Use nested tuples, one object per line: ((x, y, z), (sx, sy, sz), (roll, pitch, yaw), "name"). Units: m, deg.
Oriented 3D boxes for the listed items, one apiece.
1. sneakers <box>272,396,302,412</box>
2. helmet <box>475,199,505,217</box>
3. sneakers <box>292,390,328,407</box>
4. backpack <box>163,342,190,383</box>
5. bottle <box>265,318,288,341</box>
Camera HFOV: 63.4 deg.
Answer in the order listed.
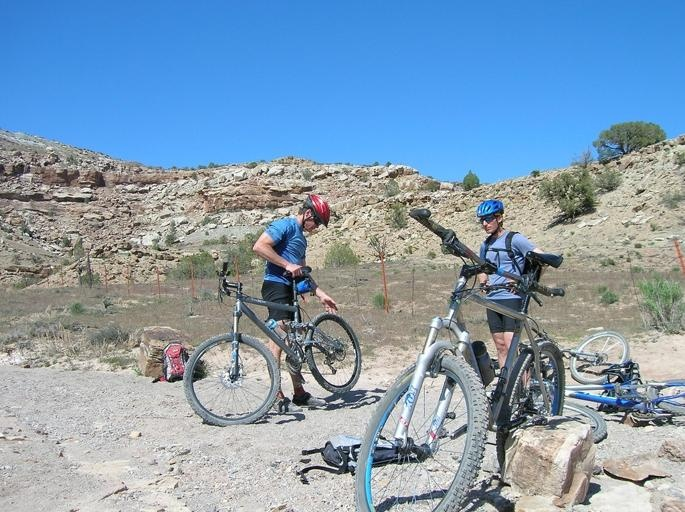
((-0.691, 1.837, 6.885), (0.379, 0.179, 0.153), (-2, -6, 22), "sneakers")
((1.706, -0.579, 6.420), (0.294, 0.147, 0.206), (-1, -7, -40), "helmet")
((-0.422, 1.825, 7.127), (0.440, 0.198, 0.187), (2, -7, -6), "sneakers")
((-2.488, 1.610, 8.293), (0.430, 0.620, 0.344), (11, -32, -31), "backpack")
((-0.790, 0.882, 6.780), (0.181, 0.307, 0.121), (-47, -10, 29), "bottle")
